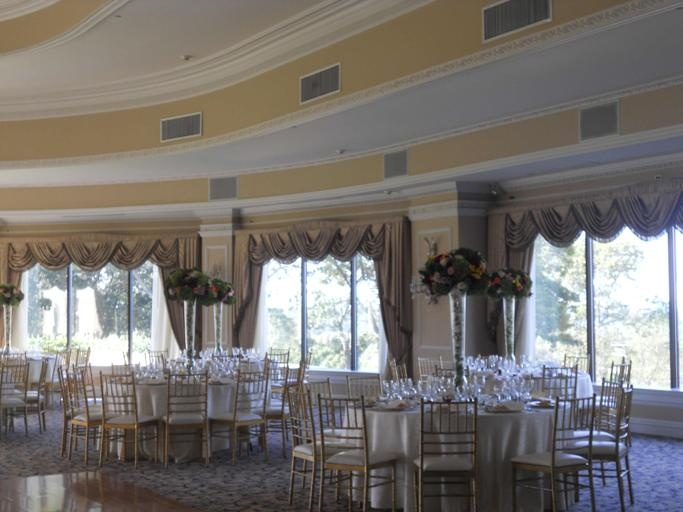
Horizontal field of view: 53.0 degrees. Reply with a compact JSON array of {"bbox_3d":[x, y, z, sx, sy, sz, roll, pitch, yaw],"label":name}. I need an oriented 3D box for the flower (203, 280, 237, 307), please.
[{"bbox_3d":[-2.096,0.615,11.604,0.433,0.309,0.428,7,-9,-42],"label":"flower"}]

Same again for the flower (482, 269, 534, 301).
[{"bbox_3d":[2.700,0.455,10.949,0.640,0.510,0.679,-4,-7,29],"label":"flower"}]

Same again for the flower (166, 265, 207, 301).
[{"bbox_3d":[-2.567,0.476,11.315,0.526,0.425,0.561,4,-2,-22],"label":"flower"}]

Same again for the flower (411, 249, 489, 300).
[{"bbox_3d":[1.480,0.177,8.798,0.691,0.485,0.708,0,13,23],"label":"flower"}]
